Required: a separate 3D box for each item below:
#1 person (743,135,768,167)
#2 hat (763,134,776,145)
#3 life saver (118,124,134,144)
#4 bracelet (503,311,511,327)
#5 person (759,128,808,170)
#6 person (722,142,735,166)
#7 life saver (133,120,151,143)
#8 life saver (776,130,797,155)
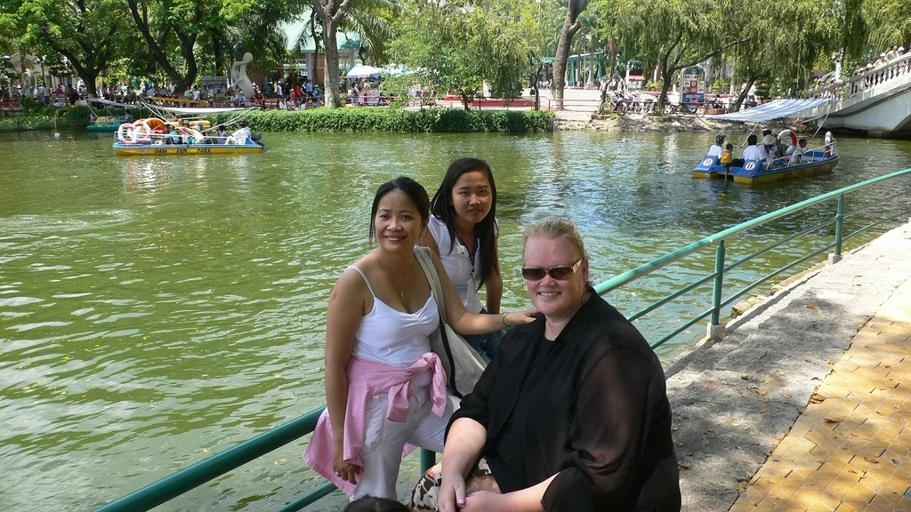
[{"bbox_3d":[11.229,-3.979,24.201,0.791,1.018,1.223,2,17,27],"label":"person"},{"bbox_3d":[12.060,-4.482,24.815,0.568,0.497,0.300,0,14,-4],"label":"hat"},{"bbox_3d":[-15.373,-5.758,30.193,0.760,0.854,2.447,-13,17,-25],"label":"life saver"},{"bbox_3d":[0.518,0.635,6.554,0.048,0.112,0.097,-3,3,4],"label":"bracelet"},{"bbox_3d":[12.747,-4.208,25.336,2.430,1.142,1.535,-9,27,-39],"label":"person"},{"bbox_3d":[10.348,-3.874,24.621,0.392,0.810,0.667,2,17,26],"label":"person"},{"bbox_3d":[-14.353,-5.642,29.550,0.740,0.911,0.970,2,5,18],"label":"life saver"},{"bbox_3d":[13.234,-4.564,25.865,0.314,1.141,1.191,14,-18,34],"label":"life saver"}]
